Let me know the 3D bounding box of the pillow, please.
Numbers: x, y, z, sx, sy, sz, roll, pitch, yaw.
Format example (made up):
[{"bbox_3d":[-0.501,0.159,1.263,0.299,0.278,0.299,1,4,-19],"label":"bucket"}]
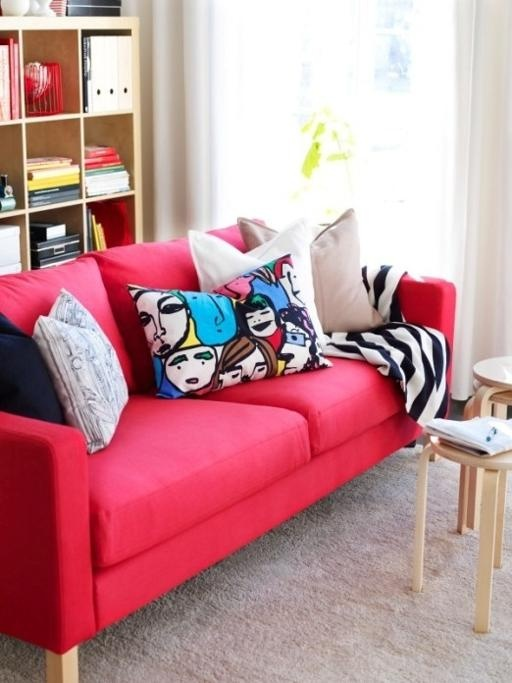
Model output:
[{"bbox_3d":[-0.026,-0.133,1.837,1.030,0.397,0.578,-17,29,-41],"label":"pillow"}]

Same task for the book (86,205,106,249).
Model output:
[{"bbox_3d":[-0.904,-0.628,3.221,0.059,0.243,0.229,-7,10,-2],"label":"book"}]
